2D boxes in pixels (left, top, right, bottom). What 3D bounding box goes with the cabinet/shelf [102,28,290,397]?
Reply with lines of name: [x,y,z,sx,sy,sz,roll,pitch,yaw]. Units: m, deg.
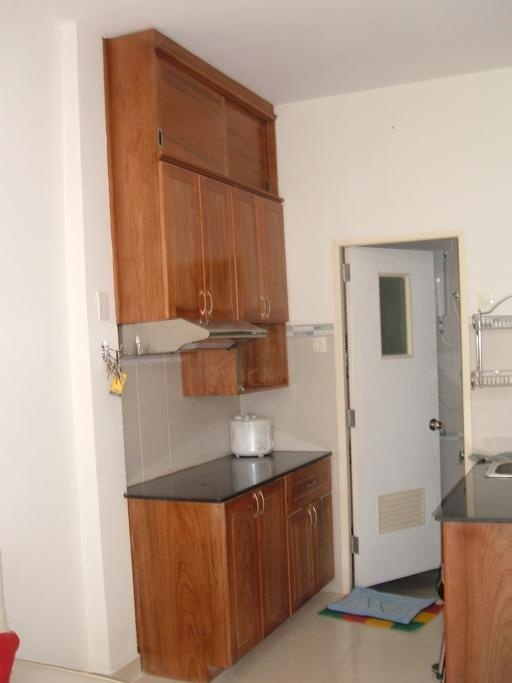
cabinet/shelf: [-0.236,-0.701,2.976,0.320,1.247,1.077,-1,0,27]

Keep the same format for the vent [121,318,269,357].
vent: [-0.239,-0.016,2.694,0.643,0.134,0.369,-1,-1,-44]

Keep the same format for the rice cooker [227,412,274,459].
rice cooker: [-0.002,0.507,3.482,0.244,0.248,0.243,-7,10,-28]
